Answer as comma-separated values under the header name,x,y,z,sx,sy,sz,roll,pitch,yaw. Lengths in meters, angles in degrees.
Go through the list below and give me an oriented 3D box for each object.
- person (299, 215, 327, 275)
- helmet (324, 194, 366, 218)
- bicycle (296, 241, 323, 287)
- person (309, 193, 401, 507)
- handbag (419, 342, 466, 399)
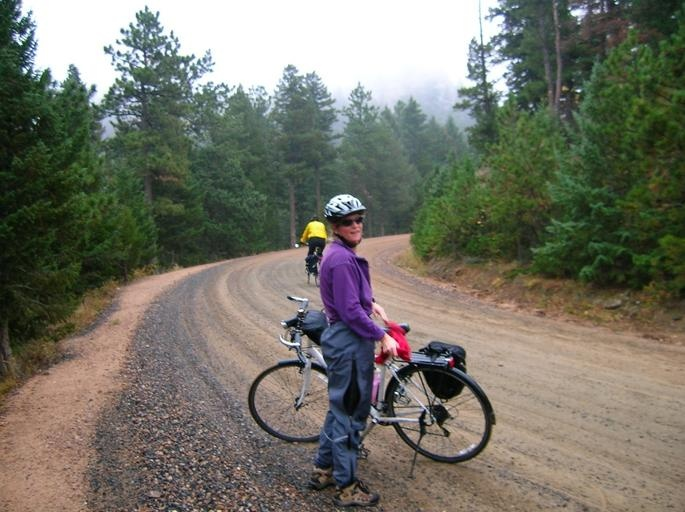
name,x,y,z,sx,sy,sz,roll,pitch,yaw
person,-0.974,-0.562,18.943,0.891,1.159,1.754,-1,11,-3
helmet,-0.040,-0.745,8.149,0.346,0.231,0.501,-8,1,-40
bicycle,-1.137,0.254,18.756,0.725,1.028,1.590,-2,18,-6
person,0.050,1.395,8.009,1.220,4.506,0.942,-11,11,-34
handbag,1.595,1.761,8.437,0.734,0.891,0.621,-10,5,15
